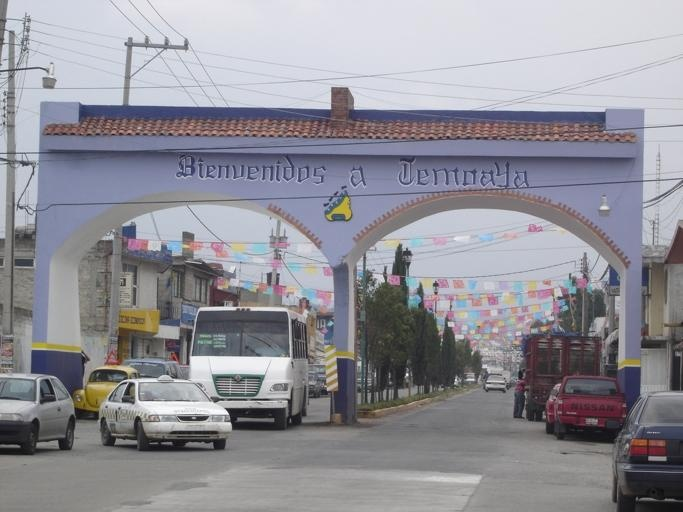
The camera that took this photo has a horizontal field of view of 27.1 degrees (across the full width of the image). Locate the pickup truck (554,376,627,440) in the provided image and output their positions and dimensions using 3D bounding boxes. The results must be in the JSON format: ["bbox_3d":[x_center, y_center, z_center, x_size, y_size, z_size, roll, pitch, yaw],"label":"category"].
[{"bbox_3d":[7.946,4.861,45.414,2.330,2.007,4.552,3,-3,8],"label":"pickup truck"}]
